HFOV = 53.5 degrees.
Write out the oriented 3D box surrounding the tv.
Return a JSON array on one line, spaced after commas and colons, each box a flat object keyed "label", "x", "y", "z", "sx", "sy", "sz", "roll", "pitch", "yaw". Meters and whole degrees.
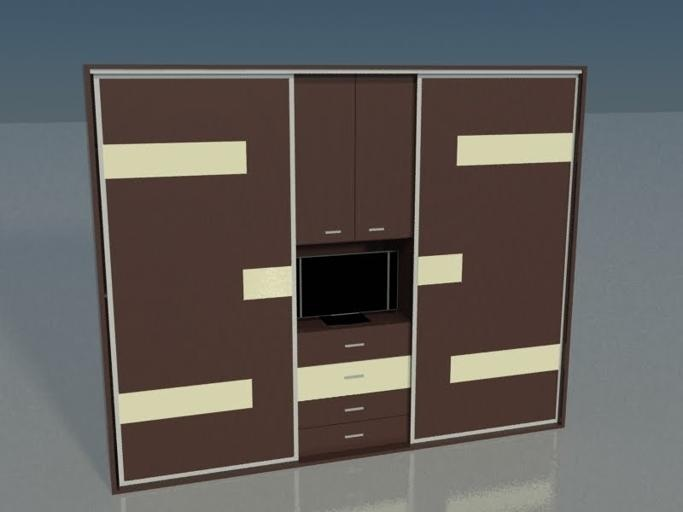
[{"label": "tv", "x": 0.017, "y": 0.274, "z": 5.719, "sx": 0.600, "sy": 0.406, "sz": 0.155, "roll": -3, "pitch": 9, "yaw": -12}]
